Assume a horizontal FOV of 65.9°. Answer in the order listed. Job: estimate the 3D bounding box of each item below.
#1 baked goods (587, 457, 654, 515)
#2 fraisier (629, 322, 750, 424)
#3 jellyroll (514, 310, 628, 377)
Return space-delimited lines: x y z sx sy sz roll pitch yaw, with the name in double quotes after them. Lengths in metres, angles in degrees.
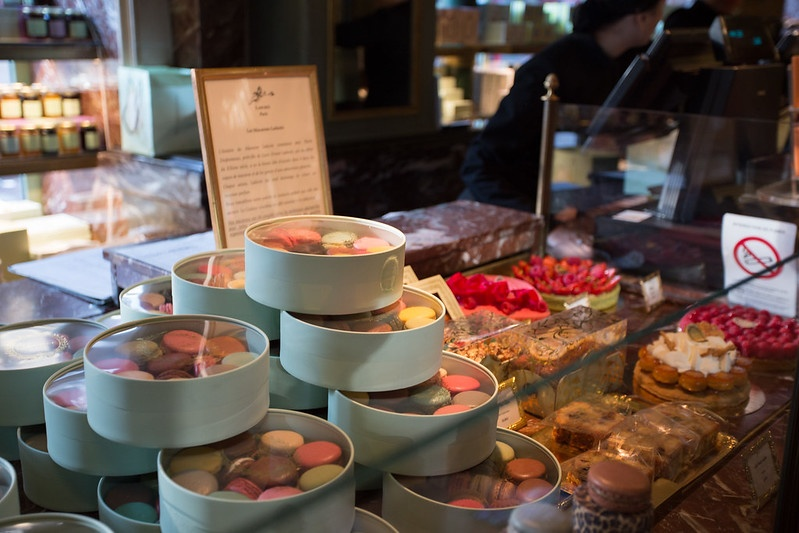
0.275 0.277 0.774 0.065 0.026 0.062 -1 14 -25 "baked goods"
0.719 0.228 1.521 0.303 0.160 0.290 -8 20 -31 "fraisier"
0.370 0.171 1.429 0.383 0.041 0.164 -17 25 -41 "jellyroll"
